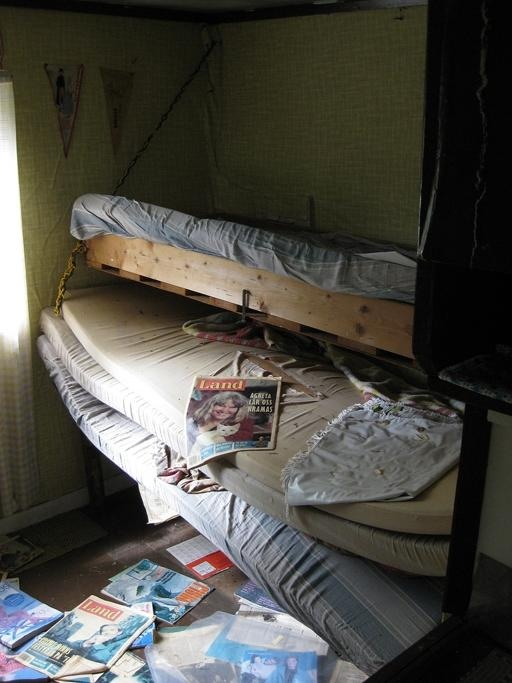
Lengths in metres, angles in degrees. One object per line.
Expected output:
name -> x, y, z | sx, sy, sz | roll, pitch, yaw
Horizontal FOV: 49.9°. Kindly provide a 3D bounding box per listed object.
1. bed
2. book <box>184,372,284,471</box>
bed -> -0.128, 0.107, 2.135 | 1.087, 0.446, 1.969 | -16, 30, -34
book -> -0.079, 0.260, 1.989 | 0.314, 0.067, 0.313 | -5, 43, 7
